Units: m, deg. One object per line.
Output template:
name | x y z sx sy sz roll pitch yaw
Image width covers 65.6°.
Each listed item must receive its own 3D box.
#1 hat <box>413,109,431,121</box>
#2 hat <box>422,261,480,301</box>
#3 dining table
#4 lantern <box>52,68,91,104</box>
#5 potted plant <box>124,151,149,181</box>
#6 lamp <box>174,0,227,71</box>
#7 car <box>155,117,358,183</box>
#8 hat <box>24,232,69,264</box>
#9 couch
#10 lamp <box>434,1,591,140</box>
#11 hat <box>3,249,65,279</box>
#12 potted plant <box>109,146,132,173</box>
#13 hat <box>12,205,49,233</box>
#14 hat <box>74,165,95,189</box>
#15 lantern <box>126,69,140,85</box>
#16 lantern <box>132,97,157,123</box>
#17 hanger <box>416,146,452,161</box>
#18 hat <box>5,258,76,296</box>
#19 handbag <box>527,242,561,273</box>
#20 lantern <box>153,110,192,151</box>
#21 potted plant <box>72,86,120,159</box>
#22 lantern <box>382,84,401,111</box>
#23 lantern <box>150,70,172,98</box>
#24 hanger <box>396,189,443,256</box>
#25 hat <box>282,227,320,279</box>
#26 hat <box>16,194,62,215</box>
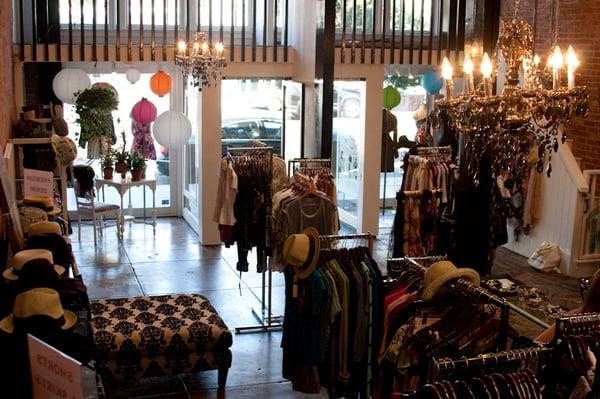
hat | 2.724 -1.895 10.443 0.376 0.261 0.336 -1 15 -8
hat | 1.079 0.572 3.324 0.378 0.238 0.294 6 16 18
dining table | -3.582 -0.112 9.687 1.122 1.485 1.489 -5 9 -35
lantern | -4.223 -2.113 8.692 0.602 0.659 0.608 -1 14 -4
potted plant | -3.267 -0.663 9.280 0.340 0.511 0.435 -7 16 -29
lamp | -1.723 -2.852 7.976 0.765 1.308 2.302 -2 15 -11
car | -0.892 -1.361 9.833 3.308 1.173 1.571 -6 10 -10
hat | -1.953 0.370 3.669 0.256 0.072 0.265 9 25 -16
couch | -1.575 1.350 5.206 1.635 0.848 1.250 -3 18 -19
lamp | 1.508 -0.881 3.433 1.041 0.860 0.585 -1 14 -8
hat | -1.832 0.473 3.221 0.314 0.095 0.285 -9 31 -35
potted plant | -3.623 -0.806 9.343 0.487 0.522 0.464 -4 8 -33
hat | -2.555 0.184 4.434 0.204 0.187 0.296 -1 4 -24
hat | -3.985 -0.422 8.679 0.319 0.446 0.336 4 10 -3
lantern | -3.341 -2.440 9.300 0.278 0.338 0.285 -4 11 -26
lantern | -2.947 -1.698 8.923 0.448 0.532 0.472 4 14 5
hanger | 2.024 -0.691 6.985 0.498 0.190 0.244 3 15 9
hat | -1.697 0.508 3.076 0.264 0.099 0.274 12 16 26
handbag | 4.310 1.025 8.170 0.310 0.550 0.621 19 1 -11
lantern | -2.465 -1.283 8.734 0.663 0.750 0.668 -3 7 -37
potted plant | -3.949 -1.495 9.116 0.760 1.530 1.157 -6 16 -25
lantern | 1.853 -2.077 9.476 0.442 0.523 0.466 1 17 13
lantern | -2.623 -2.143 8.637 0.442 0.472 0.279 8 16 25
hanger | 1.496 0.302 5.948 0.583 0.839 0.207 -4 14 -19
hat | 0.002 0.495 3.935 0.292 0.396 0.158 0 14 -3
hat | -2.706 0.046 4.822 0.283 0.091 0.263 5 14 -1
